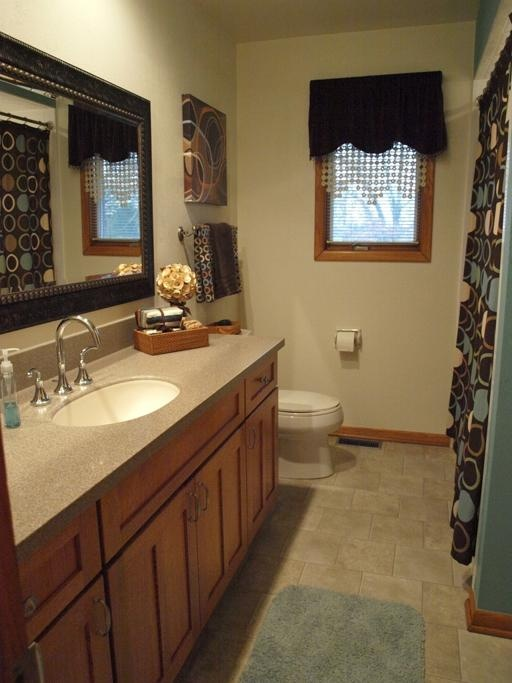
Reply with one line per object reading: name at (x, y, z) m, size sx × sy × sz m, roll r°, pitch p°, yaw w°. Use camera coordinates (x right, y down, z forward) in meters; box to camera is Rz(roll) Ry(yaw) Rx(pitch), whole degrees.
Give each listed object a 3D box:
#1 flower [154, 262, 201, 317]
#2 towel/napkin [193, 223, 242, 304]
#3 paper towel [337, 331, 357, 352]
flower at (-0.335, -0.232, 2.192) m, size 0.127 × 0.215 × 0.182 m, roll 4°, pitch 9°, yaw 24°
towel/napkin at (-0.221, -0.435, 2.746) m, size 0.059 × 0.386 × 0.405 m, roll 4°, pitch 19°, yaw 17°
paper towel at (0.589, -0.013, 3.280) m, size 0.125 × 0.174 × 0.107 m, roll 2°, pitch 10°, yaw 11°
